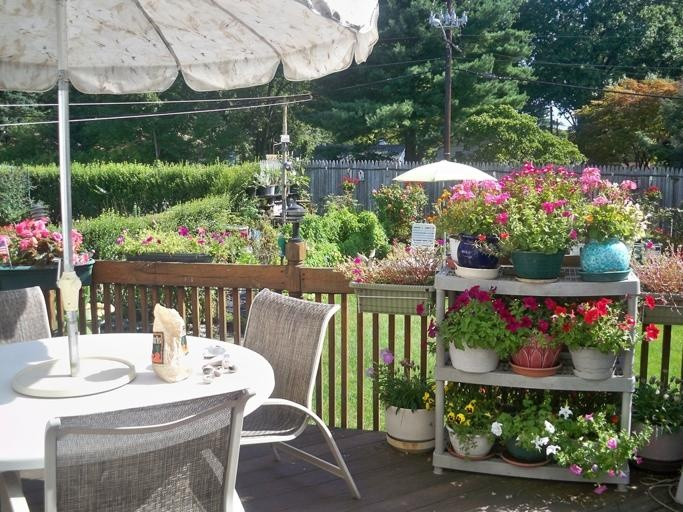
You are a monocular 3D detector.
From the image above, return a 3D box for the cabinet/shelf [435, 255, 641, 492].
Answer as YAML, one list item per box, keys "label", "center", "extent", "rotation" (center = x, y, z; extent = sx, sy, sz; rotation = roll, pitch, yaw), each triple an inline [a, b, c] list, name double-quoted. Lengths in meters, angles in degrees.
- label: "cabinet/shelf"
  center: [1.190, 0.627, 5.265]
  extent: [1.298, 1.593, 1.112]
  rotation: [2, 7, 13]

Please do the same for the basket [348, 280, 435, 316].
- label: "basket"
  center: [0.321, 0.252, 5.036]
  extent: [0.341, 0.153, 0.255]
  rotation: [2, 2, 15]

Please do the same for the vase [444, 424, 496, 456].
- label: "vase"
  center: [0.787, 1.136, 4.848]
  extent: [0.171, 0.102, 0.182]
  rotation: [0, 1, 38]

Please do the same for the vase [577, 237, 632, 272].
- label: "vase"
  center: [1.515, 0.001, 4.612]
  extent: [0.181, 0.149, 0.202]
  rotation: [0, 3, 21]

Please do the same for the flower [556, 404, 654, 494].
- label: "flower"
  center: [1.499, 1.116, 4.715]
  extent: [0.617, 0.494, 0.278]
  rotation: [-1, 14, -3]

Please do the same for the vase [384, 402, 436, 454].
- label: "vase"
  center: [0.449, 1.091, 5.062]
  extent: [0.261, 0.238, 0.270]
  rotation: [1, -3, -20]

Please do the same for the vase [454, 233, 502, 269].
- label: "vase"
  center: [0.812, -0.027, 4.755]
  extent: [0.180, 0.164, 0.191]
  rotation: [1, -2, -24]

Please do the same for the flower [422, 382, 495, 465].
- label: "flower"
  center: [0.735, 1.029, 4.952]
  extent: [0.342, 0.494, 0.374]
  rotation: [1, -7, -11]

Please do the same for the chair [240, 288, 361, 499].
- label: "chair"
  center: [-0.308, 0.710, 4.761]
  extent: [0.972, 1.209, 0.765]
  rotation: [-2, 5, -43]

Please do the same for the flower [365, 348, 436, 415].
- label: "flower"
  center: [0.376, 0.821, 5.169]
  extent: [0.342, 0.325, 0.390]
  rotation: [1, 3, -10]

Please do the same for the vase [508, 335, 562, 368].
- label: "vase"
  center: [1.150, 0.562, 4.695]
  extent: [0.190, 0.148, 0.215]
  rotation: [0, -4, 1]

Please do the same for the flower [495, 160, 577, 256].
- label: "flower"
  center: [1.113, -0.279, 4.805]
  extent: [0.425, 0.631, 0.558]
  rotation: [-2, 3, -15]

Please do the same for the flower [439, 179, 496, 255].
- label: "flower"
  center: [0.764, -0.252, 4.920]
  extent: [0.298, 0.411, 0.390]
  rotation: [1, 5, 11]

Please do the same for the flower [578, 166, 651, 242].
- label: "flower"
  center: [1.583, -0.294, 4.690]
  extent: [0.421, 0.426, 0.321]
  rotation: [0, 14, 0]
